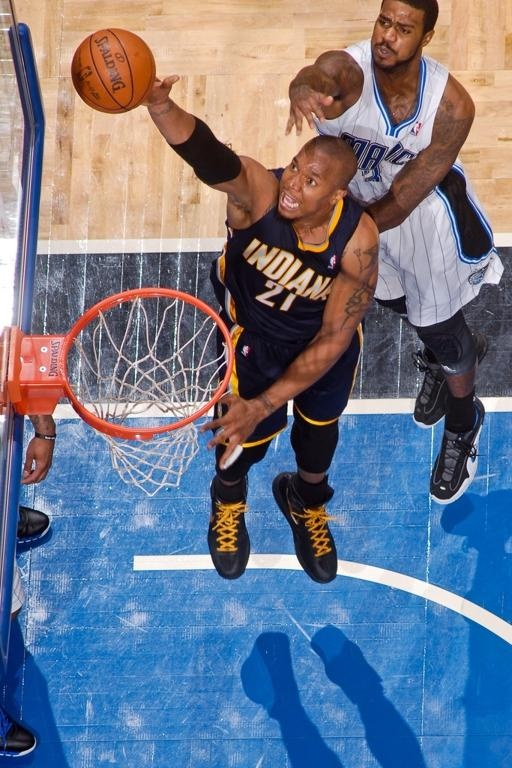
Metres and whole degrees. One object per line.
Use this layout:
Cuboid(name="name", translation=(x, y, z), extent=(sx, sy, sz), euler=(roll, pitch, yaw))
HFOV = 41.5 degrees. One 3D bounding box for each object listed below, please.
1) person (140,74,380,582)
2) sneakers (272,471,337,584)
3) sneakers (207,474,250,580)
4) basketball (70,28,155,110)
Cuboid(name="person", translation=(0.010, -0.082, 2.359), extent=(0.684, 2.026, 0.583), euler=(3, 45, 1))
Cuboid(name="sneakers", translation=(0.217, 0.656, 3.017), extent=(0.172, 0.462, 0.275), euler=(-19, -8, -22))
Cuboid(name="sneakers", translation=(-0.119, 0.638, 2.954), extent=(0.164, 0.485, 0.191), euler=(-1, -13, -4))
Cuboid(name="basketball", translation=(-0.326, -0.743, 1.657), extent=(0.189, 0.188, 0.219), euler=(-6, 60, 1))
